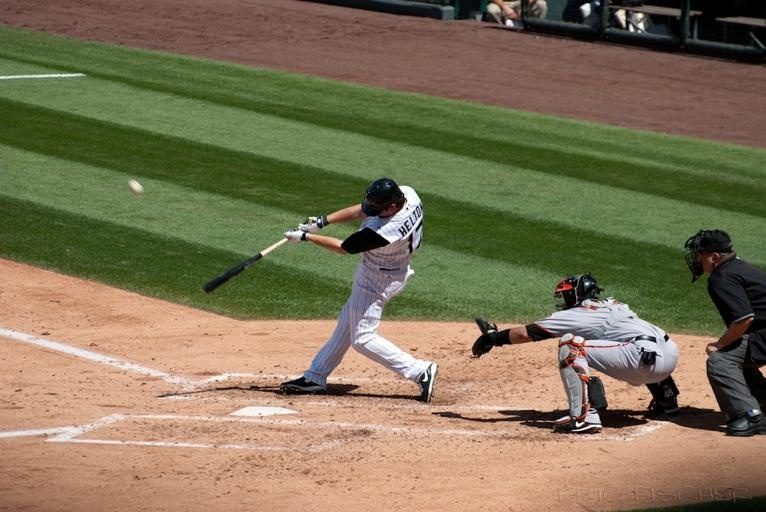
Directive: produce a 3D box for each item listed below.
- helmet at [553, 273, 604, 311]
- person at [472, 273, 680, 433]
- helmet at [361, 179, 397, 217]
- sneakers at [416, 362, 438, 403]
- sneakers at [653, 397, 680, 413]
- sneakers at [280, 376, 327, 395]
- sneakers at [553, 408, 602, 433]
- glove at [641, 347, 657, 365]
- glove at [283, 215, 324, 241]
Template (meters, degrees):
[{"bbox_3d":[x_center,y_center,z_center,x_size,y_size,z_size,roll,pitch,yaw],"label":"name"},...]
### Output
[{"bbox_3d":[2.176,0.415,14.351,0.681,0.324,0.388,-5,-8,2],"label":"helmet"},{"bbox_3d":[2.218,1.082,14.142,1.710,1.715,0.766,17,9,26],"label":"person"},{"bbox_3d":[-0.013,-0.637,14.321,0.411,0.452,0.252,15,10,7],"label":"helmet"},{"bbox_3d":[0.485,1.471,14.689,0.331,0.453,0.180,5,24,-3],"label":"sneakers"},{"bbox_3d":[3.134,1.705,14.265,0.323,0.139,0.182,4,-6,-1],"label":"sneakers"},{"bbox_3d":[-0.943,1.529,14.830,0.655,0.156,0.184,4,-5,-6],"label":"sneakers"},{"bbox_3d":[2.150,1.827,13.910,0.671,0.188,0.212,2,6,12],"label":"sneakers"},{"bbox_3d":[2.903,1.119,13.940,0.182,0.110,0.039,11,10,6],"label":"glove"},{"bbox_3d":[-0.940,-0.287,14.887,0.398,0.095,0.372,-15,9,40],"label":"glove"}]
